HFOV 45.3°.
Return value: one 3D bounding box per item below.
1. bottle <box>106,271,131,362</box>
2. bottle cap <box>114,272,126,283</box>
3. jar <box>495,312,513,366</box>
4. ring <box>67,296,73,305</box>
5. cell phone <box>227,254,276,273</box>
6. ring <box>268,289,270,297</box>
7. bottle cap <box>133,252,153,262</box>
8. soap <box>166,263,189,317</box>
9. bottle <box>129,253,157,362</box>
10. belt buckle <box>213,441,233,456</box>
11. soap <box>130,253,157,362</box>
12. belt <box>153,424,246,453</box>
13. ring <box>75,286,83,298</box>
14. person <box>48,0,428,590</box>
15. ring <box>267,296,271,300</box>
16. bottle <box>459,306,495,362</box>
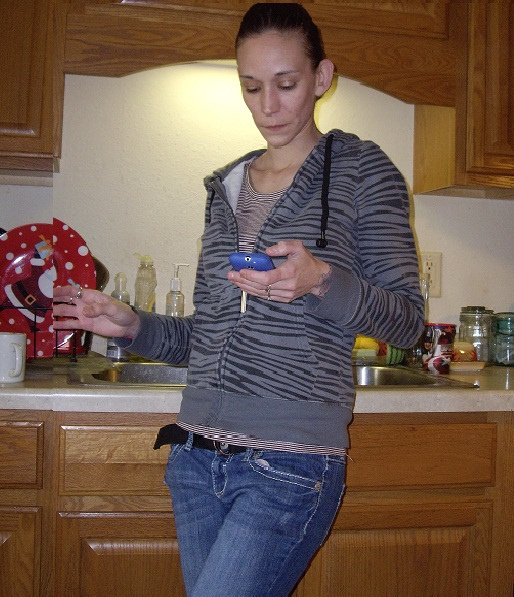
[{"bbox_3d":[-0.390,0.026,1.745,0.063,0.200,0.067,3,9,0],"label":"bottle"},{"bbox_3d":[-0.380,-0.060,1.727,0.032,0.025,0.029,3,-6,19],"label":"bottle cap"},{"bbox_3d":[0.738,0.122,1.830,0.054,0.152,0.114,5,0,22],"label":"jar"},{"bbox_3d":[-0.332,0.003,1.092,0.012,0.014,0.005,-4,-23,38],"label":"ring"},{"bbox_3d":[-0.006,-0.049,0.860,0.049,0.007,0.071,3,-34,15],"label":"cell phone"},{"bbox_3d":[0.017,-0.007,0.848,0.003,0.009,0.009,5,0,-3],"label":"ring"},{"bbox_3d":[-0.324,-0.118,1.755,0.056,0.026,0.063,4,0,-10],"label":"bottle cap"},{"bbox_3d":[-0.228,-0.028,1.752,0.055,0.150,0.095,5,0,-7],"label":"soap"},{"bbox_3d":[-0.306,0.008,1.726,0.115,0.344,0.084,-3,8,-18],"label":"bottle"},{"bbox_3d":[-0.047,0.216,0.892,0.022,0.018,0.007,0,2,35],"label":"belt buckle"},{"bbox_3d":[-0.336,0.011,1.763,0.095,0.275,0.089,5,-3,-1],"label":"soap"},{"bbox_3d":[-0.091,0.226,0.968,0.119,0.044,0.095,-1,9,-28],"label":"belt"},{"bbox_3d":[-0.304,-0.010,1.056,0.013,0.014,0.005,2,-10,23],"label":"ring"},{"bbox_3d":[0.054,-0.021,0.992,0.325,0.870,0.355,5,0,-25],"label":"person"},{"bbox_3d":[0.017,0.000,0.852,0.004,0.006,0.004,-1,10,0],"label":"ring"},{"bbox_3d":[0.689,0.110,1.928,0.107,0.165,0.066,5,0,15],"label":"bottle"}]
